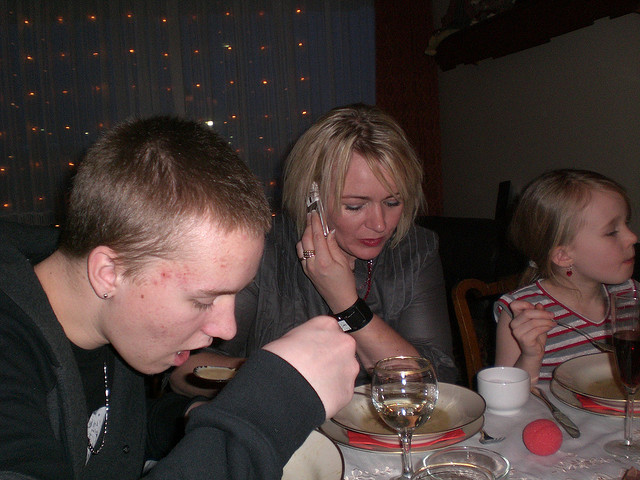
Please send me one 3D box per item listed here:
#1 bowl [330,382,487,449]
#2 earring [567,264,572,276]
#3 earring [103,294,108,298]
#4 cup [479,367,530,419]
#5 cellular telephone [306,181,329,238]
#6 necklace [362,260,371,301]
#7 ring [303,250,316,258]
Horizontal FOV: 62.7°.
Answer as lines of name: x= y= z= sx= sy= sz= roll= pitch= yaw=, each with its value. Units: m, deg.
bowl: x=0.224 y=0.414 z=1.219 sx=0.210 sy=0.047 sz=0.202 roll=-1 pitch=8 yaw=0
earring: x=0.892 y=0.114 z=1.880 sx=0.015 sy=0.038 sz=0.013 roll=-1 pitch=11 yaw=19
earring: x=-0.422 y=0.113 z=1.041 sx=0.010 sy=0.008 sz=0.006 roll=2 pitch=12 yaw=31
cup: x=0.434 y=0.372 z=1.281 sx=0.101 sy=0.080 sz=0.113 roll=0 pitch=-4 yaw=-38
cellular telephone: x=-0.008 y=-0.103 z=1.765 sx=0.046 sy=0.186 sz=0.106 roll=-8 pitch=11 yaw=-16
necklace: x=0.174 y=0.153 z=1.867 sx=0.024 sy=0.132 sz=0.019 roll=2 pitch=-10 yaw=42
ring: x=-0.033 y=0.048 z=1.715 sx=0.024 sy=0.015 sz=0.027 roll=1 pitch=1 yaw=25
